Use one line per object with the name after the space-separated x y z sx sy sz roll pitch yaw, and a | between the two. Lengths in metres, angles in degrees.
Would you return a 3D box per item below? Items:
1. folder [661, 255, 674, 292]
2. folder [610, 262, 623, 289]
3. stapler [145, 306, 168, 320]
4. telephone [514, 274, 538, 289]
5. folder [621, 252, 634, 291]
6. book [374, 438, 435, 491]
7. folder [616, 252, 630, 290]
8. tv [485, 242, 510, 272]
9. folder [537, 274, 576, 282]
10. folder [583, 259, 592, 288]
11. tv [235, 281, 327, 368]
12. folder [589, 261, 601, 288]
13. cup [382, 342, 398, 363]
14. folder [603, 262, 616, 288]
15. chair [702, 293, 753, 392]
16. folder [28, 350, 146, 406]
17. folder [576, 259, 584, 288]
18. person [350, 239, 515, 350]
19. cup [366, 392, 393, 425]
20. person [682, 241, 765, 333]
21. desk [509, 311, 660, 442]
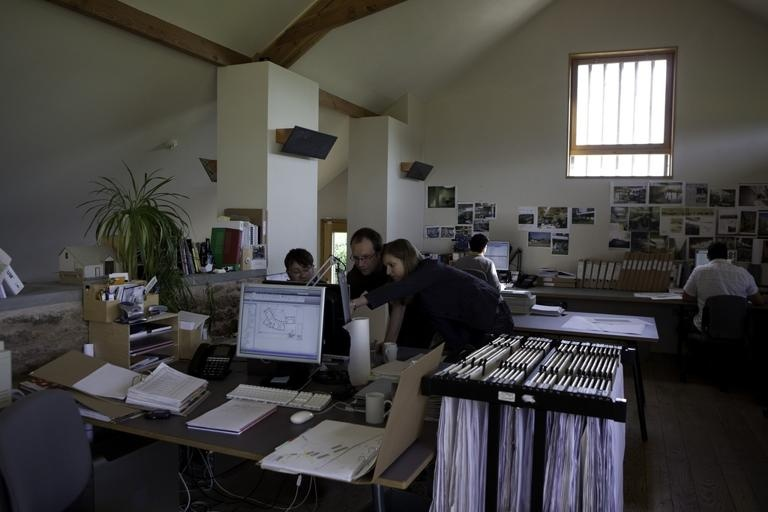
3.535 0.209 6.215 0.083 0.327 0.349 8 8 22 | folder
2.958 0.229 6.383 0.061 0.256 0.255 7 6 24 | folder
-1.516 0.361 3.334 0.051 0.062 0.153 0 1 24 | stapler
1.877 0.315 6.631 0.192 0.102 0.263 3 16 28 | telephone
3.049 0.197 6.362 0.089 0.366 0.380 4 -5 13 | folder
0.102 0.963 2.343 0.139 0.099 0.362 6 11 34 | book
3.036 0.189 6.343 0.093 0.371 0.385 6 12 12 | folder
1.474 0.010 6.539 0.386 0.423 0.055 1 0 11 | tv
2.288 0.275 6.636 0.435 0.085 0.073 5 10 26 | folder
2.639 0.235 6.515 0.116 0.333 0.314 0 -5 29 | folder
-0.616 0.411 3.045 0.522 0.447 0.059 2 1 8 | tv
2.727 0.245 6.486 0.173 0.302 0.313 4 6 31 | folder
0.041 0.643 3.319 0.075 0.104 0.121 4 8 31 | cup
2.900 0.227 6.411 0.066 0.256 0.263 8 9 24 | folder
3.589 0.794 5.305 0.449 0.850 0.507 -1 4 21 | chair
-1.736 0.693 2.938 0.486 0.070 0.273 21 26 5 | folder
2.568 0.221 6.571 0.065 0.266 0.282 2 0 17 | folder
0.379 0.314 3.735 1.179 0.896 0.390 -3 9 -15 | person
-0.003 0.797 2.640 0.170 0.145 0.104 4 1 12 | cup
3.734 0.358 5.479 0.777 1.138 0.652 5 21 37 | person
1.925 1.231 4.703 1.323 1.017 1.106 0 -1 25 | desk
